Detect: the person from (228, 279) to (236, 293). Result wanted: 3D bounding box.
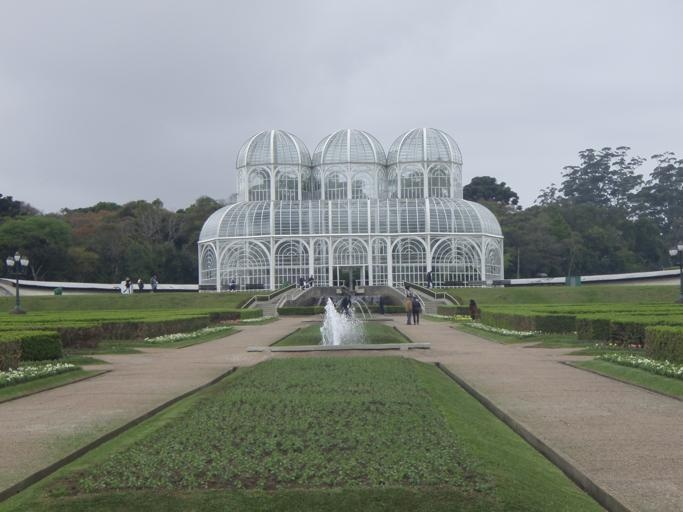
[{"bbox_3d":[-8.702,2.340,59.847,0.869,1.449,0.847,1,-5,-11],"label":"person"}]

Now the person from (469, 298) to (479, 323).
[{"bbox_3d":[6.381,2.542,35.479,0.379,0.935,1.268,1,3,12],"label":"person"}]
